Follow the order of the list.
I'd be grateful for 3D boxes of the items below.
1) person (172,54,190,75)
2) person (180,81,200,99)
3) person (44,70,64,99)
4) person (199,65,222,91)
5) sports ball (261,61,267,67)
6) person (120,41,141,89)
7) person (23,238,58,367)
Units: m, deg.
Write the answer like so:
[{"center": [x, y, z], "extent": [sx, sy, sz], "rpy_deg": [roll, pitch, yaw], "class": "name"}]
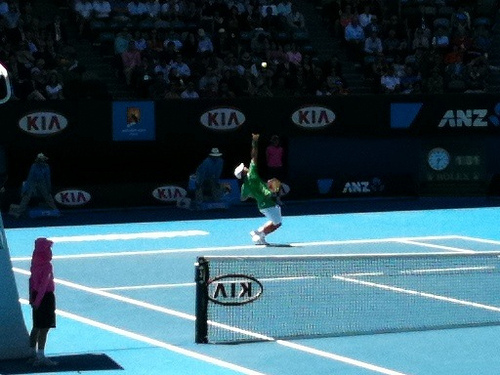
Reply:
[{"center": [-2.490, -4.402, 23.951], "extent": [0.765, 0.824, 0.415], "rpy_deg": [-9, 5, -28], "class": "person"}, {"center": [-2.128, -3.421, 23.489], "extent": [0.707, 0.732, 0.399], "rpy_deg": [4, -5, -10], "class": "person"}, {"center": [-6.592, -3.461, 22.494], "extent": [0.626, 0.953, 0.548], "rpy_deg": [-3, 39, -18], "class": "person"}, {"center": [-1.438, -3.804, 24.020], "extent": [1.067, 1.157, 0.680], "rpy_deg": [-2, -4, 2], "class": "person"}, {"center": [0.528, -4.499, 24.327], "extent": [0.157, 0.170, 0.163], "rpy_deg": [8, 10, -1], "class": "sports ball"}, {"center": [-4.306, -4.452, 24.142], "extent": [0.739, 1.652, 0.565], "rpy_deg": [-1, 8, -6], "class": "person"}, {"center": [-2.935, 1.604, 9.326], "extent": [0.520, 1.801, 0.361], "rpy_deg": [4, 9, 32], "class": "person"}]
